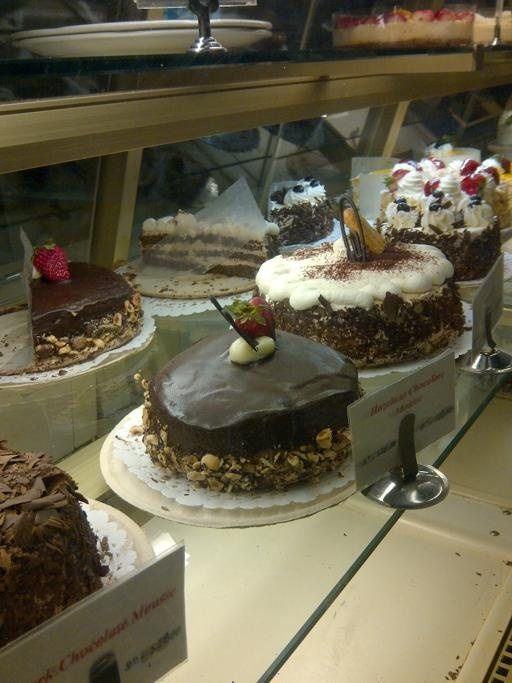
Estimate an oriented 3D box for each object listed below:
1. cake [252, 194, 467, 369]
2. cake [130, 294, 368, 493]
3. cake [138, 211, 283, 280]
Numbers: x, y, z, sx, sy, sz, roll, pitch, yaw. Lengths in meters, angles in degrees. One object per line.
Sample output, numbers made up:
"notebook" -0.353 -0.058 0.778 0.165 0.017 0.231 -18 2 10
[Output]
"cake" 0.308 -0.113 1.656 0.610 0.355 0.558 -9 27 -13
"cake" -0.002 0.131 1.052 0.428 0.229 0.390 -7 23 -10
"cake" -0.211 -0.377 2.218 0.361 0.113 0.364 -20 29 -41
